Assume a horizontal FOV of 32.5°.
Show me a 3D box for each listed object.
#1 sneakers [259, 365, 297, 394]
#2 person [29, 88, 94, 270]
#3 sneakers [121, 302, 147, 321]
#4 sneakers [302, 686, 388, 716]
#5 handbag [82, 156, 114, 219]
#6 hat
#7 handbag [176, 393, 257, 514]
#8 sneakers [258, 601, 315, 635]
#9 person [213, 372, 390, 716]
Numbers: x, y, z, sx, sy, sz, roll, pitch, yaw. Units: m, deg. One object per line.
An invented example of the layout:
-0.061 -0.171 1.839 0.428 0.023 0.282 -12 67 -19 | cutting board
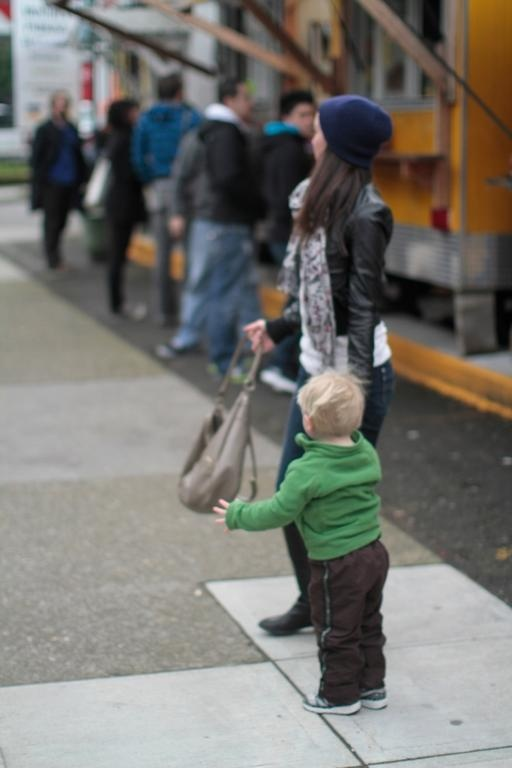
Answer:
0.163 -0.027 6.002 0.314 0.154 0.108 24 45 38 | sneakers
-1.103 -1.176 4.877 0.313 0.731 0.847 -2 10 -11 | person
-0.883 -0.519 6.235 0.135 0.165 0.390 -1 5 -5 | sneakers
0.228 0.799 2.186 0.219 0.088 0.073 3 -5 -12 | sneakers
-0.955 -1.247 5.475 0.073 0.302 0.075 12 18 12 | handbag
0.237 -0.657 2.280 0.219 0.171 0.162 9 16 6 | hat
-0.089 0.195 2.753 0.211 0.410 0.292 -6 36 4 | handbag
0.098 0.713 2.709 0.219 0.089 0.072 -4 4 -12 | sneakers
0.114 0.384 2.251 0.452 0.826 0.409 0 8 5 | person
